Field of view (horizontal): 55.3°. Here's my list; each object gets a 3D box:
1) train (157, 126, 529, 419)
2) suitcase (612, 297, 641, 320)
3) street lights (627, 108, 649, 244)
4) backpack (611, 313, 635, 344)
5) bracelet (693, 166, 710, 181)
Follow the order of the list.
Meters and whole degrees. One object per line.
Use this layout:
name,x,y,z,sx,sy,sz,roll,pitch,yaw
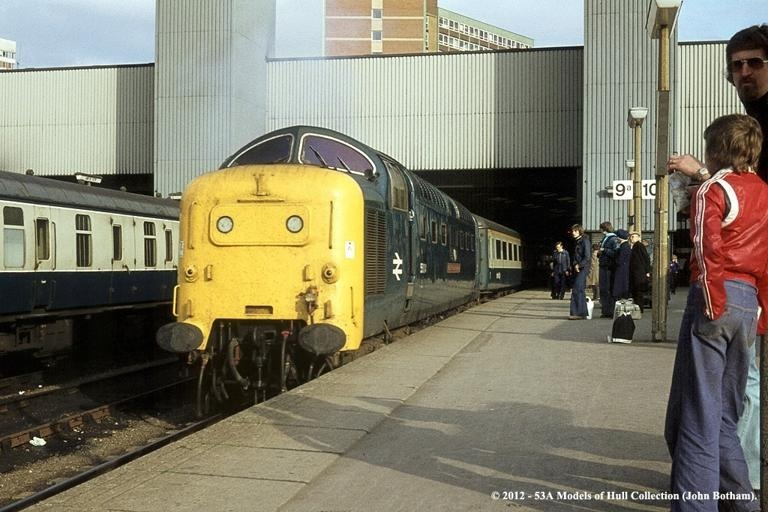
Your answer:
train,-0.649,0.001,13.341,2.365,4.314,7.899,0,3,18
suitcase,4.340,0.897,13.074,0.350,0.519,0.527,-6,-19,26
street lights,6.533,-2.102,18.837,0.629,3.291,0.654,-11,13,-28
backpack,4.217,1.285,12.902,0.390,0.348,0.552,-2,34,30
bracelet,2.731,-0.701,6.301,0.079,0.134,0.130,-2,15,14
